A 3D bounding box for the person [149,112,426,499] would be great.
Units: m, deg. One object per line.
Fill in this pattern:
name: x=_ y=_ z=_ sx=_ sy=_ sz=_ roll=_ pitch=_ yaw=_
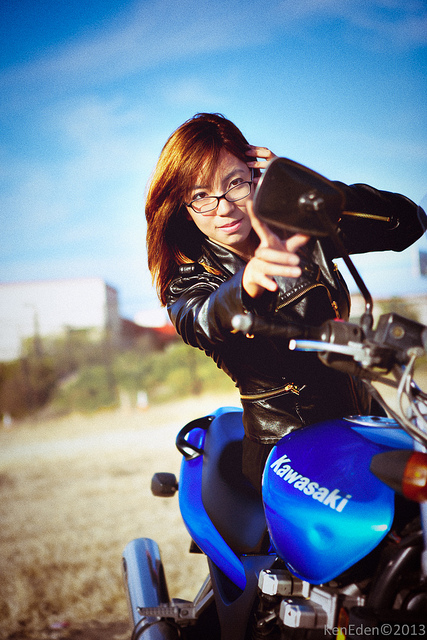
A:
person: x=0.157 y=-0.224 z=1.690 sx=0.692 sy=0.576 sz=1.175 roll=-9 pitch=46 yaw=-12
